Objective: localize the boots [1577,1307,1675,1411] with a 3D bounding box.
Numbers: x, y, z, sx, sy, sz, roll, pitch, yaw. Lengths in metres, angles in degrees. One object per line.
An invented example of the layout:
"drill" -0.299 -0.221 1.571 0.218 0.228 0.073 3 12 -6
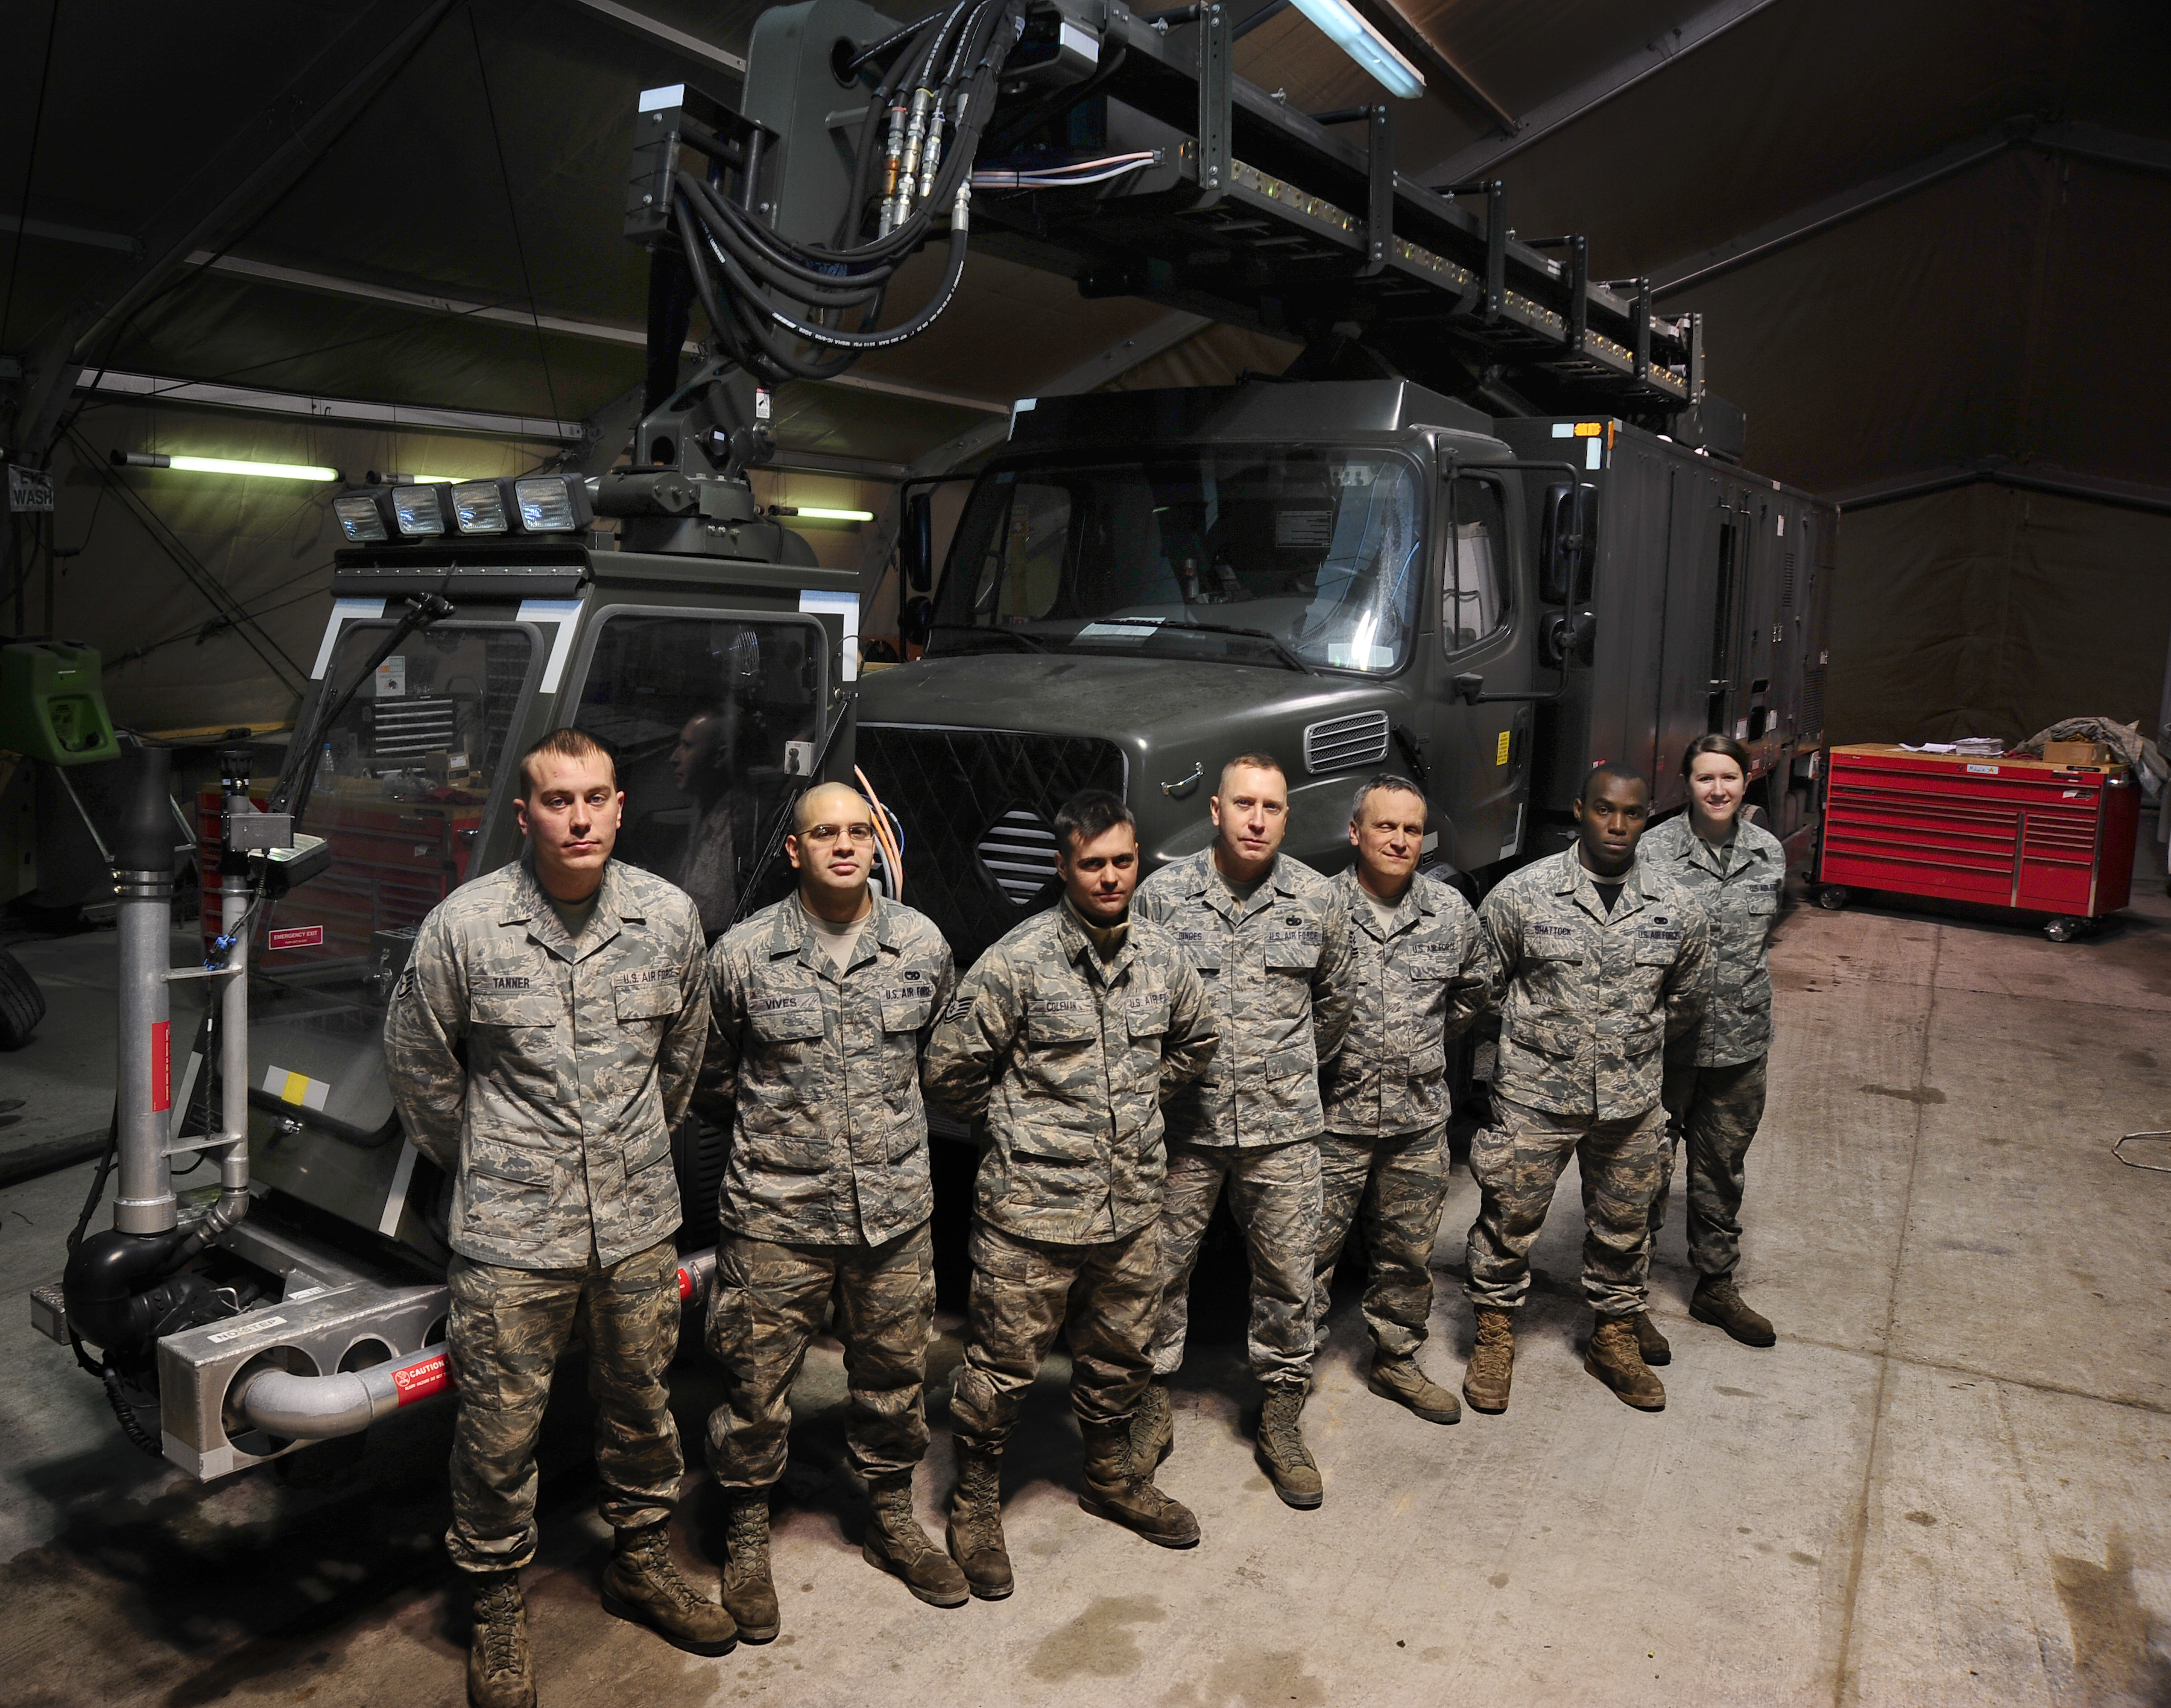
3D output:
"boots" 1.896 1.776 5.404 0.162 0.267 0.410 -9 1 -23

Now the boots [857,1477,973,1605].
"boots" -0.472 1.901 4.270 0.414 0.248 0.144 3 6 44

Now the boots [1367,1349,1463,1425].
"boots" 1.112 1.803 5.195 0.364 0.231 0.132 2 9 40

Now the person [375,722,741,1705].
"person" -1.309 1.017 3.857 0.800 2.090 0.387 0 7 -26

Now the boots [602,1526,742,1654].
"boots" -1.092 1.932 4.048 0.420 0.244 0.132 11 4 18

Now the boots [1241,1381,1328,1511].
"boots" 0.548 1.840 4.793 0.143 0.273 0.405 -1 2 -12
